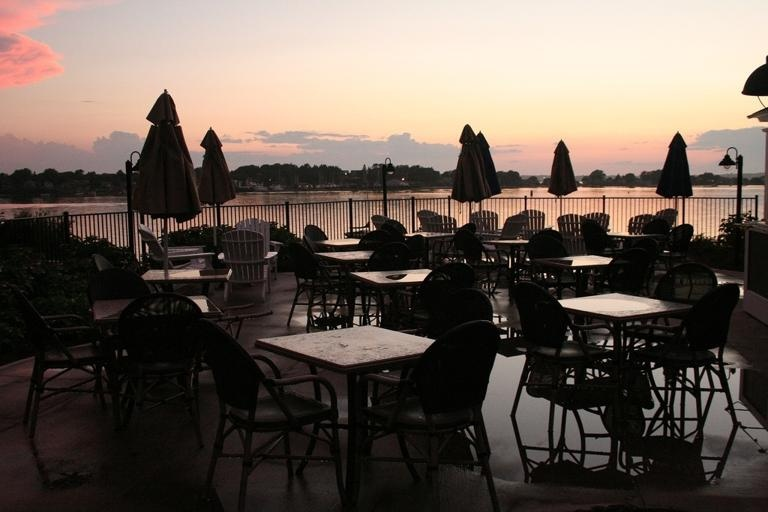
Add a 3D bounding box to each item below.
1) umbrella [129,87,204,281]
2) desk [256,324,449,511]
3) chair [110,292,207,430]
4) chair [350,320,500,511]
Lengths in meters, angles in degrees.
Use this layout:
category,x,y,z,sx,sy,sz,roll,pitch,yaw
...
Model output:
category,x,y,z,sx,sy,sz,roll,pitch,yaw
umbrella,-3.168,-1.142,9.348,0.927,2.632,1.061,-3,6,-18
desk,-0.456,1.580,6.821,1.749,1.625,1.741,0,2,-40
chair,-2.628,1.186,7.391,1.203,1.597,0.786,3,7,31
chair,0.447,1.520,6.466,1.319,1.889,1.209,-1,6,-4
